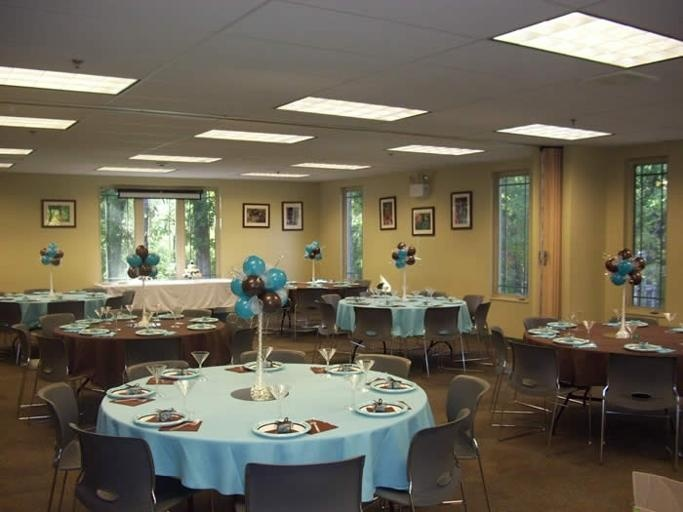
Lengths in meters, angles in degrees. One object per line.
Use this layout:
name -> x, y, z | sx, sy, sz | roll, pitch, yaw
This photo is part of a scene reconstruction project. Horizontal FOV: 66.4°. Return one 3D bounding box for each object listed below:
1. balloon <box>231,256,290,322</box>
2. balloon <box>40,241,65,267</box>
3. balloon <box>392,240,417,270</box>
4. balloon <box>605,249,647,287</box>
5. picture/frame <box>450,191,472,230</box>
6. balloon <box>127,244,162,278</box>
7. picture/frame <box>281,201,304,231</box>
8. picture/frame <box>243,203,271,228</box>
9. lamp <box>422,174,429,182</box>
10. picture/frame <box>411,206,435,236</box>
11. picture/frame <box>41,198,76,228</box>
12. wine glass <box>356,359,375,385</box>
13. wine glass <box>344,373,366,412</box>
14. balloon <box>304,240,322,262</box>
balloon -> -0.587, 0.230, 3.765 | 0.393, 0.455, 0.265 | -1, 5, -11
balloon -> -5.768, -0.047, 10.437 | 0.407, 0.438, 0.198 | 1, 28, 0
balloon -> 1.107, -0.001, 9.162 | 0.348, 0.453, 0.846 | 1, 4, 11
balloon -> 3.199, 0.141, 5.891 | 0.346, 0.427, 0.387 | 3, 5, 35
picture/frame -> 2.517, -0.962, 10.951 | 0.066, 0.774, 0.570 | -4, 6, -35
balloon -> -2.635, 0.076, 6.971 | 0.410, 0.440, 0.425 | -1, -2, 38
picture/frame -> -1.353, -1.121, 14.200 | 0.755, 1.008, 0.103 | -2, 5, -15
picture/frame -> -2.253, -1.090, 13.777 | 0.657, 0.586, 0.065 | 2, -4, -31
lamp -> 1.885, -1.719, 11.649 | 0.177, 0.180, 0.130 | 0, -3, 20
picture/frame -> 1.859, -0.793, 11.732 | 0.042, 0.648, 0.607 | -4, 8, -39
picture/frame -> -6.441, -0.992, 11.879 | 0.671, 0.699, 0.064 | 0, 0, -33
wine glass -> 0.162, 0.863, 3.873 | 0.181, 0.220, 0.187 | 0, -4, -4
wine glass -> 0.102, 0.923, 3.626 | 0.179, 0.227, 0.197 | 1, -5, -6
balloon -> -0.653, -0.116, 12.192 | 0.423, 0.277, 0.536 | -16, 8, -10
